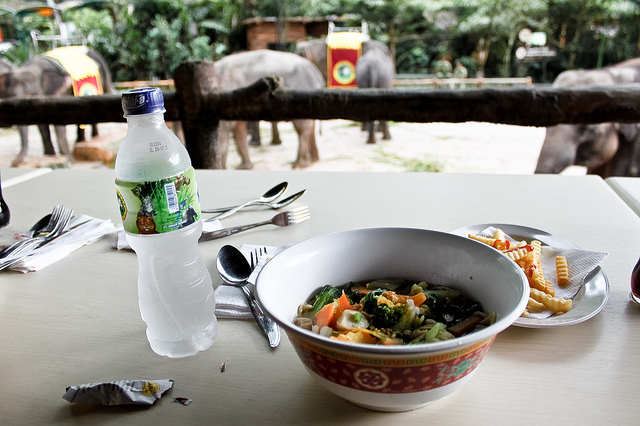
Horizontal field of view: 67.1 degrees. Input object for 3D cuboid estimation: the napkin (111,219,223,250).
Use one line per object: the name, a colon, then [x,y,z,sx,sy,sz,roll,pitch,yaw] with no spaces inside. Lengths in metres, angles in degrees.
napkin: [-0.333,0.049,1.231,0.131,0.037,0.125,-1,16,6]

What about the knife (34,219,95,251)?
knife: [-0.658,0.047,1.255,0.188,0.021,0.014,-29,14,-27]

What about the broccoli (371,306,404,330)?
broccoli: [0.109,0.169,0.778,0.035,0.025,0.041,1,16,9]

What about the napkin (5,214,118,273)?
napkin: [-0.663,0.071,1.220,0.156,0.040,0.255,15,29,31]

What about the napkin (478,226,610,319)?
napkin: [0.496,0.123,1.024,0.175,0.026,0.171,9,32,24]

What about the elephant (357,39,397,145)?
elephant: [0.824,-1.899,7.340,0.858,1.331,1.930,-3,21,6]

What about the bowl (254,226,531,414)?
bowl: [0.113,0.169,0.827,0.424,0.187,0.298,-9,27,-17]

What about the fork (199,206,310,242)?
fork: [-0.170,0.031,1.267,0.220,0.022,0.025,-18,62,2]

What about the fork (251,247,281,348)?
fork: [-0.117,0.173,0.948,0.022,0.023,0.195,-17,47,-10]

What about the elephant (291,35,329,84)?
elephant: [-0.140,-2.290,7.232,0.581,0.816,0.593,19,25,35]

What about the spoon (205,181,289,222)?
spoon: [-0.211,-0.031,1.411,0.243,0.030,0.041,-22,37,-23]

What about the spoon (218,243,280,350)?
spoon: [-0.138,0.174,0.984,0.064,0.042,0.324,-31,46,-10]

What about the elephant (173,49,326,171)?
elephant: [-0.693,-1.151,5.325,2.305,1.432,0.926,7,9,19]
